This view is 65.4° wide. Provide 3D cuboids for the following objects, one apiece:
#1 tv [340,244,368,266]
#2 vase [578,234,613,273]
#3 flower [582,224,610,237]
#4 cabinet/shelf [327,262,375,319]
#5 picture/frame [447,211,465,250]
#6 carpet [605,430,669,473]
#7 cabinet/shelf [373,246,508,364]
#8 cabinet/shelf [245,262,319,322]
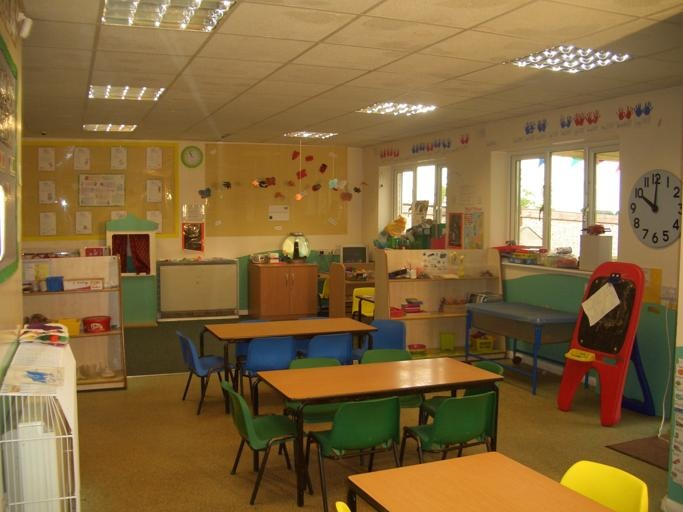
[{"bbox_3d":[0.247,-0.028,11.055,0.601,0.453,0.333,1,2,-6],"label":"tv"},{"bbox_3d":[3.148,-0.038,6.592,0.326,0.457,0.332,3,3,34],"label":"vase"},{"bbox_3d":[3.123,-0.327,6.613,0.189,0.106,0.263,-1,5,-2],"label":"flower"},{"bbox_3d":[0.226,0.520,9.534,1.354,0.869,0.855,-2,11,-15],"label":"cabinet/shelf"},{"bbox_3d":[1.885,-0.437,8.746,0.077,0.785,0.544,-3,8,-23],"label":"picture/frame"},{"bbox_3d":[2.859,1.833,5.121,0.495,0.061,0.731,1,3,35],"label":"carpet"},{"bbox_3d":[1.396,0.694,7.512,1.585,1.438,0.478,0,1,-14],"label":"cabinet/shelf"},{"bbox_3d":[-1.220,0.645,10.799,1.606,1.416,0.976,0,-1,-23],"label":"cabinet/shelf"}]
